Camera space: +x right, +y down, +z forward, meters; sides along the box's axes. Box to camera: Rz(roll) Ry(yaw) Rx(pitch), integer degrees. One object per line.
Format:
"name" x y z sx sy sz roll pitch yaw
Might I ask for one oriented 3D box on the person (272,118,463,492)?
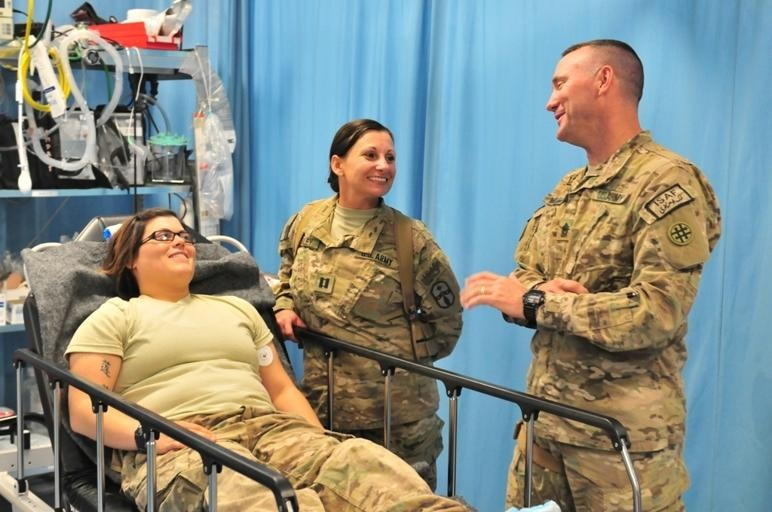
"person" -0.116 0.400 4.631 0.836 2.055 0.616 7 23 21

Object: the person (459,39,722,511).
"person" 0.805 0.108 3.898 0.806 1.832 0.391 6 5 17

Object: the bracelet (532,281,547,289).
"bracelet" 0.572 0.107 3.899 0.035 0.013 0.026 -24 -2 -12

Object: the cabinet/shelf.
"cabinet/shelf" -1.677 -0.533 6.304 0.827 2.047 2.114 -3 6 -33

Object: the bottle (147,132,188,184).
"bottle" -1.174 -0.527 5.601 0.240 0.286 0.245 1 1 -24
